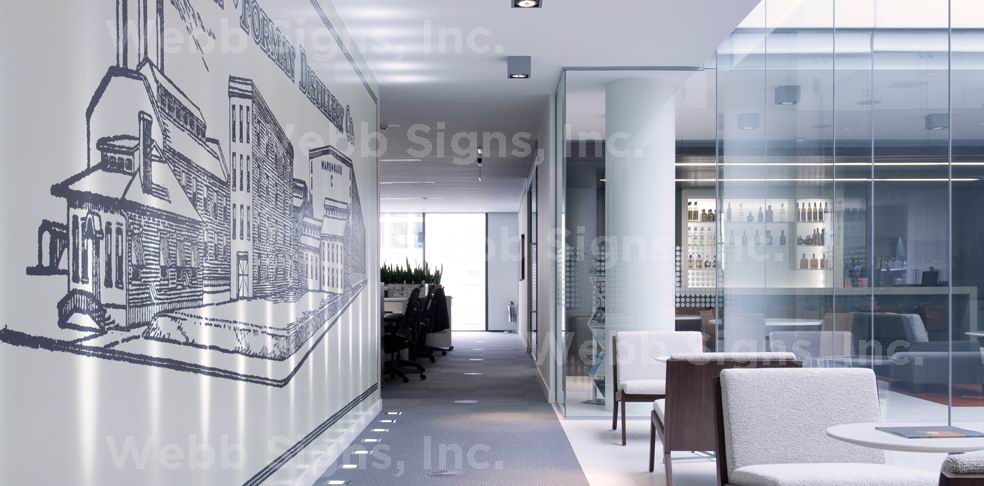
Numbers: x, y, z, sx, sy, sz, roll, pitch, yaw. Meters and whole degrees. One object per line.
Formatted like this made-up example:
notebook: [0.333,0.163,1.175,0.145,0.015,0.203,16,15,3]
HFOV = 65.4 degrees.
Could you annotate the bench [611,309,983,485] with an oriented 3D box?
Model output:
bench: [1.990,1.417,6.035,1.174,1.128,2.335,1,1,-6]

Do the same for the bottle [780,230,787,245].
bottle: [2.565,-0.043,6.738,0.028,0.119,0.103,1,1,-5]

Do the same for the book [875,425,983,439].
book: [2.670,1.148,4.641,0.577,0.031,0.235,1,1,2]

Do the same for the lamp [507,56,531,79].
lamp: [0.273,-1.811,7.930,0.211,0.109,0.194,0,-8,-2]

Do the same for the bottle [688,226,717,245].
bottle: [2.229,-0.083,8.052,0.244,0.185,0.071,0,-3,1]

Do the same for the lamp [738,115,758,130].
lamp: [2.485,-1.177,7.414,0.186,0.147,0.106,-1,-1,11]

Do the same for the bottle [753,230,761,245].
bottle: [2.452,-0.040,7.086,0.013,0.116,0.086,1,1,-12]

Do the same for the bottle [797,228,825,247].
bottle: [2.691,-0.048,6.428,0.048,0.147,0.293,1,1,-18]

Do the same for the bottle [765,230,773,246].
bottle: [2.509,-0.048,6.907,0.012,0.131,0.092,1,1,-18]

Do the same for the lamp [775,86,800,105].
lamp: [2.683,-1.325,6.895,0.208,0.124,0.199,2,-1,-38]
